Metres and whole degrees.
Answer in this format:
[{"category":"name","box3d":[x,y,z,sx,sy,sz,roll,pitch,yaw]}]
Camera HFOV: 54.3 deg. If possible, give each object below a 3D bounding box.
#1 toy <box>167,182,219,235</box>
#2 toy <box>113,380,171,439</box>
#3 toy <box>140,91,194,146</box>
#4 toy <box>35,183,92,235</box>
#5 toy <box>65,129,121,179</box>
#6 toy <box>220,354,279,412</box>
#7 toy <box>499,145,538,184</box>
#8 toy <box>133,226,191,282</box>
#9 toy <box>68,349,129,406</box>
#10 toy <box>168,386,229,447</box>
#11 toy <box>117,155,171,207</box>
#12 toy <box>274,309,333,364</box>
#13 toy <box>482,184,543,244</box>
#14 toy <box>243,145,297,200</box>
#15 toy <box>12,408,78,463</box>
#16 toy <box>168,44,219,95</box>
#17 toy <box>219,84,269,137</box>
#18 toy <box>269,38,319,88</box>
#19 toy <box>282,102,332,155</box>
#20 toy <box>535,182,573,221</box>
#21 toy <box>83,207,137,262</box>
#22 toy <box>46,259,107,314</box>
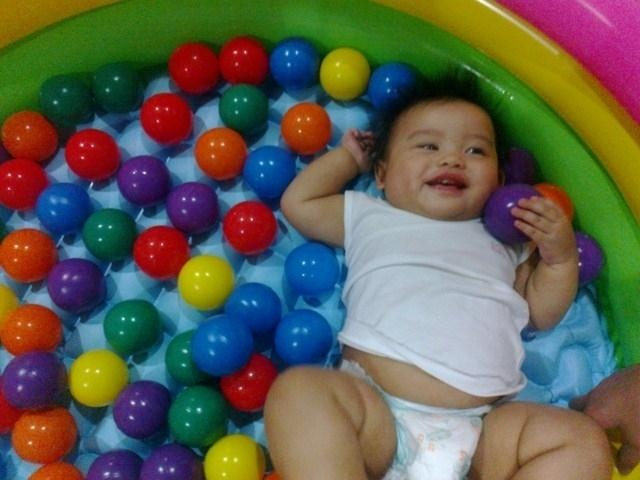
[{"category":"toy","box3d":[-0.467,-0.121,2.276,0.177,0.113,0.141,-10,63,-4]},{"category":"toy","box3d":[-0.615,0.578,2.134,0.178,0.237,0.218,-1,100,-17]},{"category":"toy","box3d":[-0.593,-0.468,2.422,0.218,0.243,0.218,1,88,-28]},{"category":"toy","box3d":[-0.947,-0.130,2.296,0.155,0.176,0.223,-4,116,-8]},{"category":"toy","box3d":[-0.865,-0.331,2.358,0.171,0.186,0.245,-8,103,-16]},{"category":"toy","box3d":[-0.232,0.485,2.086,0.158,0.176,0.238,6,88,-2]},{"category":"toy","box3d":[0.727,-0.270,2.295,0.124,0.056,0.148,-9,90,-35]},{"category":"toy","box3d":[-0.570,0.049,2.243,0.194,0.147,0.167,-20,64,-8]},{"category":"toy","box3d":[-0.768,0.474,2.146,0.191,0.182,0.232,-5,101,-35]},{"category":"toy","box3d":[-0.411,0.612,2.117,0.190,0.212,0.246,5,85,-6]},{"category":"toy","box3d":[-0.665,-0.229,2.342,0.163,0.189,0.235,0,116,-23]},{"category":"toy","box3d":[-0.073,0.315,2.211,0.165,0.202,0.191,-20,93,-10]},{"category":"toy","box3d":[0.627,-0.092,2.030,0.154,0.175,0.236,1,94,21]},{"category":"toy","box3d":[-0.196,-0.263,2.359,0.160,0.184,0.220,-2,102,-5]},{"category":"toy","box3d":[-0.886,0.630,2.024,0.168,0.165,0.137,35,106,46]},{"category":"toy","box3d":[-0.497,-0.670,2.448,0.168,0.204,0.220,1,99,26]},{"category":"toy","box3d":[-0.282,-0.489,2.347,0.154,0.175,0.228,0,90,11]},{"category":"toy","box3d":[-0.099,-0.693,2.468,0.181,0.174,0.245,-10,103,-44]},{"category":"toy","box3d":[-0.054,-0.431,2.424,0.185,0.220,0.245,-3,85,12]},{"category":"toy","box3d":[0.836,-0.168,2.267,0.120,0.159,0.153,5,103,9]},{"category":"toy","box3d":[-0.758,-0.016,2.307,0.156,0.181,0.223,7,51,-7]},{"category":"toy","box3d":[-0.877,0.158,2.223,0.166,0.173,0.233,-4,106,-28]}]
